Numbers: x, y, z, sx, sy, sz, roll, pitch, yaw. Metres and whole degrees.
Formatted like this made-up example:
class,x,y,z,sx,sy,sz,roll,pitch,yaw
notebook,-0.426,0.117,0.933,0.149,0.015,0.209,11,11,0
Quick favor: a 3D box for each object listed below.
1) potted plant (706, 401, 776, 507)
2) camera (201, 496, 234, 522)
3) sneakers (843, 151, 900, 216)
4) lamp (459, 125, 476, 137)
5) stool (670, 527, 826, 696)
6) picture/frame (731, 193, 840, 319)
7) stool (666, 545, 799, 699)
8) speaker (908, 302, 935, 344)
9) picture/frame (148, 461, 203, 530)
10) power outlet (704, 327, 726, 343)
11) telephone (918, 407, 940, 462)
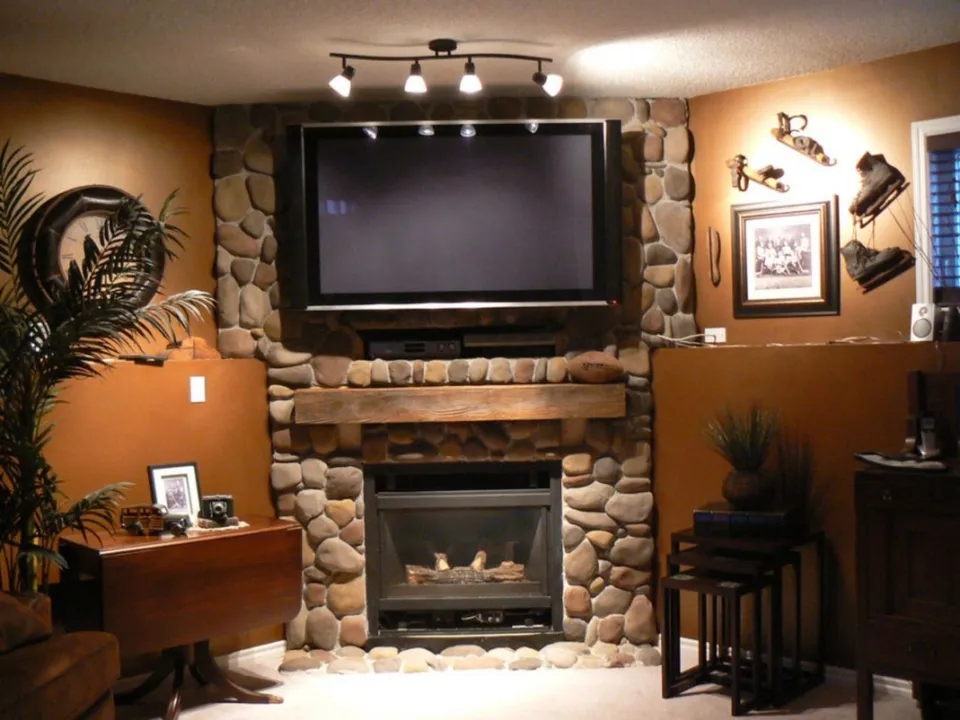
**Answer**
class,x,y,z,sx,sy,sz,roll,pitch,yaw
potted plant,1.417,0.505,4.348,0.357,0.530,0.428,-2,3,17
camera,-1.369,0.768,4.178,0.128,0.138,0.047,5,-15,-15
sneakers,2.167,-0.991,4.486,0.107,0.244,0.342,0,-28,-25
lamp,-0.071,-1.308,4.550,0.091,0.073,0.028,-3,3,0
stool,1.346,1.307,4.329,0.667,0.876,0.975,-5,-6,43
picture/frame,1.748,-0.606,4.661,0.560,0.699,0.035,-1,-21,20
stool,1.248,1.355,4.343,0.538,0.845,0.867,-2,-3,39
speaker,2.264,-0.200,4.147,0.107,0.189,0.219,-3,3,-2
picture/frame,-1.578,0.703,4.138,0.051,0.427,0.297,-11,-7,42
power outlet,1.394,-0.135,4.752,0.141,0.101,0.079,-1,0,16
telephone,2.168,0.341,3.889,0.075,0.231,0.051,-4,18,24
